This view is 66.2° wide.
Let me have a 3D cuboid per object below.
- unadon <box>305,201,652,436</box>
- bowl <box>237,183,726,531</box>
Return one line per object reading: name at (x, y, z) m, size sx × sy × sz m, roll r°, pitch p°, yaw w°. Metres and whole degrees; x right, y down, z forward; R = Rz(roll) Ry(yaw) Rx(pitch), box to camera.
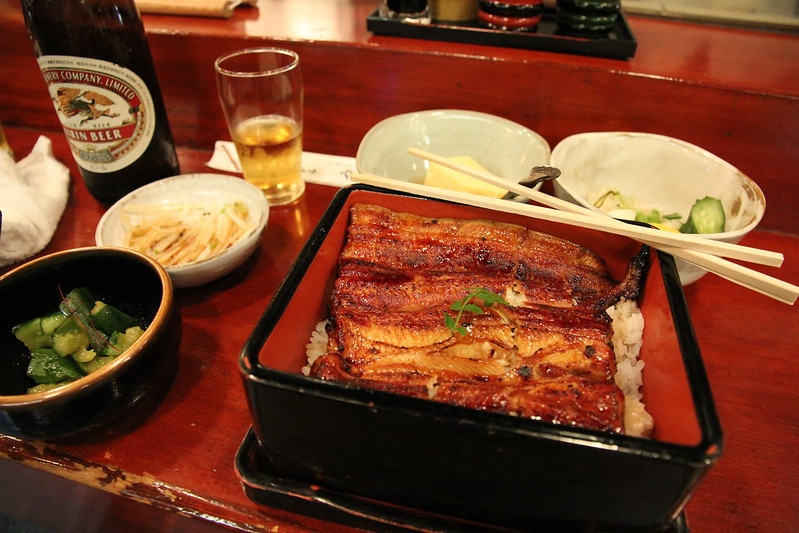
unadon at (0.234, 0.152, 1.807) m, size 0.842 × 0.246 × 0.567 m, roll 9°, pitch 57°, yaw 4°
bowl at (0.257, 0.275, 1.753) m, size 1.196 × 0.457 × 0.799 m, roll 13°, pitch 44°, yaw 12°
